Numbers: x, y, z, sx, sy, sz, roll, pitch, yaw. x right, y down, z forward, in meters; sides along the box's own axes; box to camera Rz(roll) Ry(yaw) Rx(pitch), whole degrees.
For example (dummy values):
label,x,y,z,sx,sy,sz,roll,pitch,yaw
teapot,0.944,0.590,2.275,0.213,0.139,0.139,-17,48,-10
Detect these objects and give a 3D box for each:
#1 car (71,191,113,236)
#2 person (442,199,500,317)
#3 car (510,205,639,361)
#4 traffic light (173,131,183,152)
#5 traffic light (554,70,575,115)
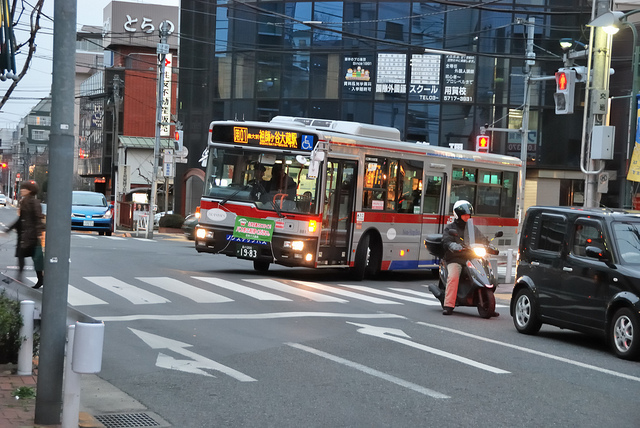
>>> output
label,x,y,z,sx,sy,sz,roll,pitch,yaw
car,-11.150,0.038,33.048,2.046,1.490,3.473,1,-5,-14
person,3.017,0.973,14.511,0.812,2.436,0.539,2,4,-6
car,4.780,1.165,12.294,0.723,2.408,2.705,0,4,-26
traffic light,-8.226,-4.130,39.341,0.441,1.169,0.731,1,4,-14
traffic light,7.110,-3.519,19.720,0.549,1.228,0.497,3,4,18
